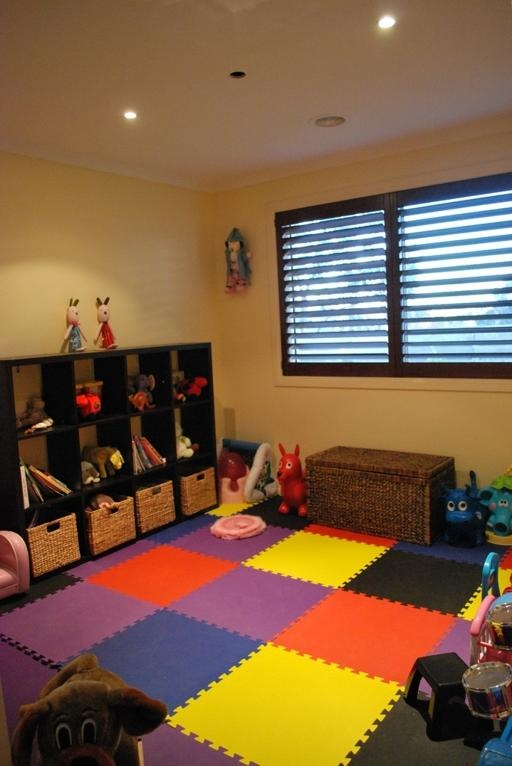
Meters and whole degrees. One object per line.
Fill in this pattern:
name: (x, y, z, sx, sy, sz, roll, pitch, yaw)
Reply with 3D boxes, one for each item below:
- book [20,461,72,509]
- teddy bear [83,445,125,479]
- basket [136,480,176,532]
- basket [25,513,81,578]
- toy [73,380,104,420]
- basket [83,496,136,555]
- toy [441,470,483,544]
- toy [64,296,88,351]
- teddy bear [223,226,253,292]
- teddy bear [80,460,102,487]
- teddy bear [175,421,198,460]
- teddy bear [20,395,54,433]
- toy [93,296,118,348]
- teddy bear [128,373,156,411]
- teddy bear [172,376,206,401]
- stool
book: (-1.155, 0.570, 3.114, 0.257, 0.088, 0.187, 7, 10, 27)
teddy bear: (-0.914, 0.506, 3.605, 0.385, 0.220, 0.120, -3, 0, 39)
basket: (-0.668, 0.843, 3.765, 0.170, 0.229, 0.299, -9, -2, 25)
basket: (-1.125, 0.904, 3.147, 0.270, 0.271, 0.272, -10, 10, -22)
toy: (-1.003, 0.106, 3.466, 0.136, 0.246, 0.239, 6, 12, 33)
basket: (-0.898, 0.876, 3.499, 0.203, 0.330, 0.415, -2, 3, 22)
toy: (1.242, 0.746, 3.295, 0.243, 0.416, 0.194, -3, 3, 6)
toy: (-1.127, -0.361, 3.497, 0.137, 0.346, 0.313, -4, 3, -17)
teddy bear: (-0.174, -0.998, 4.623, 0.165, 0.485, 0.287, -5, 4, -38)
teddy bear: (-1.011, 0.571, 3.439, 0.090, 0.067, 0.153, -6, 10, -42)
teddy bear: (-0.529, 0.435, 4.159, 0.101, 0.244, 0.155, 9, -38, -34)
teddy bear: (-1.250, 0.181, 3.228, 0.184, 0.178, 0.175, 2, -7, 1)
toy: (-1.001, -0.393, 3.714, 0.133, 0.358, 0.391, -4, 3, -14)
teddy bear: (-0.770, 0.066, 3.831, 0.219, 0.244, 0.176, -9, 13, -26)
teddy bear: (-0.485, 0.059, 4.177, 0.246, 0.150, 0.108, -14, 19, 14)
stool: (0.499, 0.860, 1.543, 0.151, 0.224, 0.312, -3, 3, 9)
